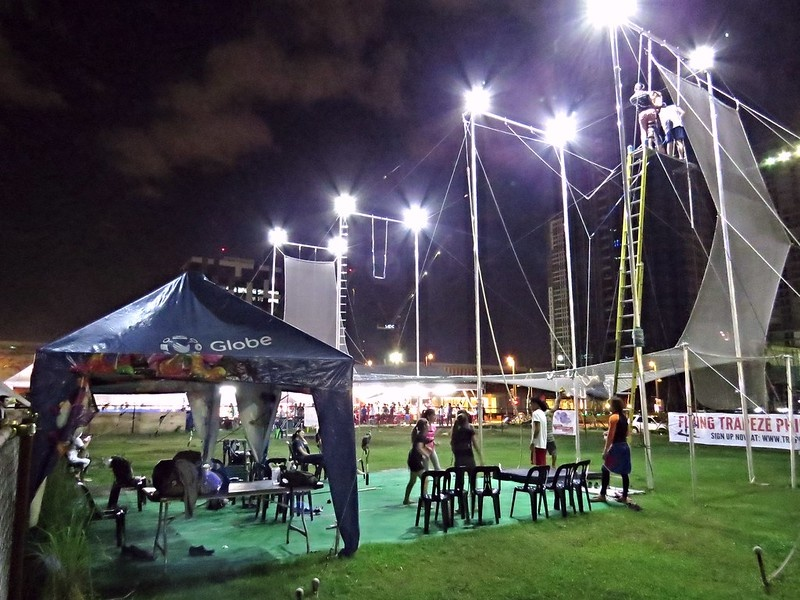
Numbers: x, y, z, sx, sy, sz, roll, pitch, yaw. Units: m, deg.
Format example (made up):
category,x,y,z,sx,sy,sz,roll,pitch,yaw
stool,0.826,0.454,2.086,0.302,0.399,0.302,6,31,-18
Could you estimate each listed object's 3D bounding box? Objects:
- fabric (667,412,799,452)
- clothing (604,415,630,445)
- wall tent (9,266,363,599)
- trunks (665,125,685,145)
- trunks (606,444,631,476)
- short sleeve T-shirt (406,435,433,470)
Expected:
category,x,y,z,sx,sy,sz,roll,pitch,yaw
fabric,12.417,4.961,21.885,2.198,1.503,8.855,-4,-14,5
clothing,5.334,3.119,13.607,0.687,0.700,0.320,4,-13,-27
wall tent,-3.999,2.026,12.256,5.601,5.500,5.914,2,-12,-15
trunks,7.818,-4.738,16.012,0.520,0.533,0.319,-23,-58,40
trunks,5.247,3.845,13.553,0.723,0.840,0.446,2,-2,9
short sleeve T-shirt,0.464,3.790,13.689,0.485,0.842,0.733,-4,-13,8
